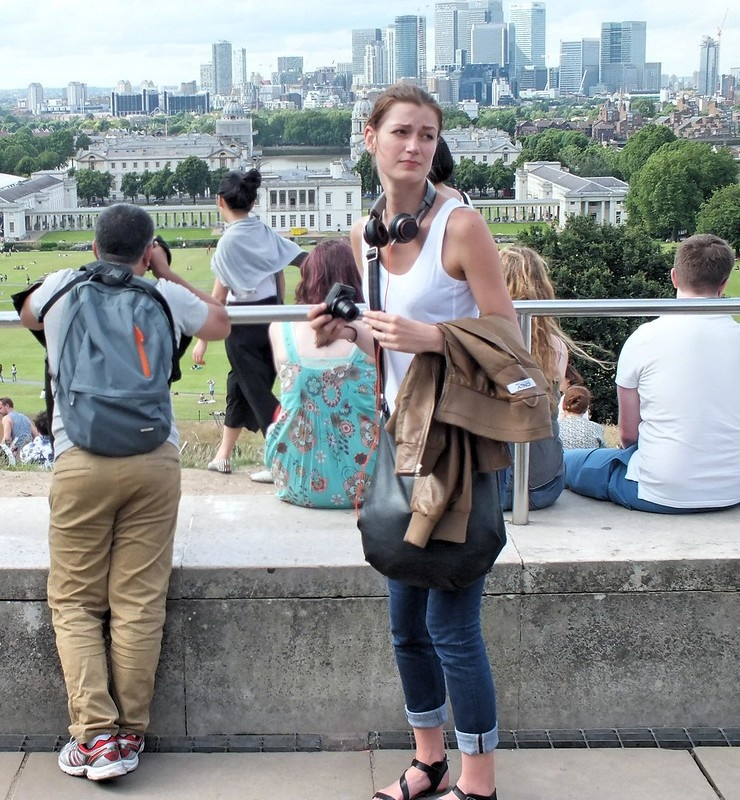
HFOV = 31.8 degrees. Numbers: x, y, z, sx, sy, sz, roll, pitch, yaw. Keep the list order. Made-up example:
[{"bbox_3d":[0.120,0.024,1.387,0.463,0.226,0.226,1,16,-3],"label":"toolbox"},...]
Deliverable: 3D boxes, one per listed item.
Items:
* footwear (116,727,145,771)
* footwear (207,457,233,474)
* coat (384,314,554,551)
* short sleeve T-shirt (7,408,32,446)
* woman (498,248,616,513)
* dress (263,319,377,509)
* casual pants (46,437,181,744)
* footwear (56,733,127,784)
[{"bbox_3d":[-0.605,0.860,3.213,0.038,0.047,0.106,2,29,-9],"label":"footwear"},{"bbox_3d":[-0.868,0.381,7.478,0.069,0.082,0.199,0,7,-20],"label":"footwear"},{"bbox_3d":[0.173,0.109,2.928,0.231,0.414,0.305,-4,18,-38],"label":"coat"},{"bbox_3d":[-3.258,0.268,11.929,0.174,0.310,0.250,-21,-27,21],"label":"short sleeve T-shirt"},{"bbox_3d":[0.566,-0.014,4.092,0.323,0.557,0.251,-19,26,-24],"label":"woman"},{"bbox_3d":[-0.124,0.030,4.297,0.460,0.659,0.345,3,8,23],"label":"dress"},{"bbox_3d":[-0.683,0.471,3.390,0.382,0.874,0.268,0,-19,-6],"label":"casual pants"},{"bbox_3d":[-0.679,0.865,3.141,0.079,0.093,0.203,0,-1,-33],"label":"footwear"}]
